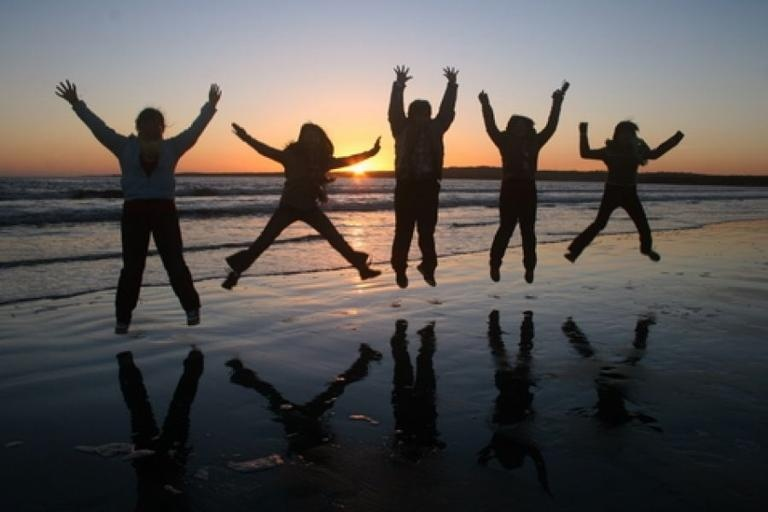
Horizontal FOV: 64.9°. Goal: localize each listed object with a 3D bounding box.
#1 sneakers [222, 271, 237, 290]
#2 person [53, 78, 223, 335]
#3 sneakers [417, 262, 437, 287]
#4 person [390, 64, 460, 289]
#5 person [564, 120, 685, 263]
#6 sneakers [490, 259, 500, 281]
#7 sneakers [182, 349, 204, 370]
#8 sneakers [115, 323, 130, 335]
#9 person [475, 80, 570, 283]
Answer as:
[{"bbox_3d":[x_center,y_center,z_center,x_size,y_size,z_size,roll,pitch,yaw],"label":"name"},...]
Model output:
[{"bbox_3d":[-2.000,0.327,7.909,0.194,0.256,0.191,-3,13,-10],"label":"sneakers"},{"bbox_3d":[-2.597,-0.489,6.736,1.427,2.633,0.516,-6,14,-22],"label":"person"},{"bbox_3d":[0.652,0.236,8.559,0.276,0.344,0.090,1,34,19],"label":"sneakers"},{"bbox_3d":[0.510,-0.953,8.113,0.875,2.964,0.469,-1,13,0],"label":"person"},{"bbox_3d":[3.673,-0.970,9.365,1.451,2.199,0.575,3,14,13],"label":"person"},{"bbox_3d":[1.685,0.217,9.038,0.150,0.346,0.153,1,4,0],"label":"sneakers"},{"bbox_3d":[-1.914,1.046,6.090,0.132,0.044,0.155,4,29,-3],"label":"sneakers"},{"bbox_3d":[-2.883,0.803,6.701,0.152,0.103,0.141,9,1,-42],"label":"sneakers"},{"bbox_3d":[1.939,-0.960,8.621,1.170,2.880,0.685,0,13,2],"label":"person"}]
